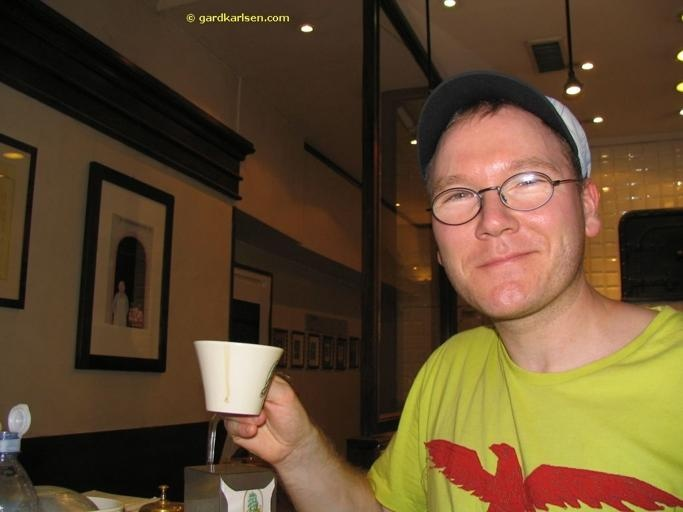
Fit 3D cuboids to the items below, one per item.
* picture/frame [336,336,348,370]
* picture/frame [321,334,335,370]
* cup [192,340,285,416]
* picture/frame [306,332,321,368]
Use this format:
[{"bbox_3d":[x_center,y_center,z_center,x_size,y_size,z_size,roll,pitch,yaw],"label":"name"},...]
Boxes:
[{"bbox_3d":[-0.006,1.195,6.667,0.050,0.410,0.373,-3,-8,22],"label":"picture/frame"},{"bbox_3d":[-0.167,1.130,6.346,0.046,0.445,0.373,-3,-9,21],"label":"picture/frame"},{"bbox_3d":[-0.232,0.270,1.191,0.166,0.129,0.172,3,-17,1],"label":"cup"},{"bbox_3d":[-0.319,1.048,6.042,0.041,0.448,0.383,-3,-5,22],"label":"picture/frame"}]
